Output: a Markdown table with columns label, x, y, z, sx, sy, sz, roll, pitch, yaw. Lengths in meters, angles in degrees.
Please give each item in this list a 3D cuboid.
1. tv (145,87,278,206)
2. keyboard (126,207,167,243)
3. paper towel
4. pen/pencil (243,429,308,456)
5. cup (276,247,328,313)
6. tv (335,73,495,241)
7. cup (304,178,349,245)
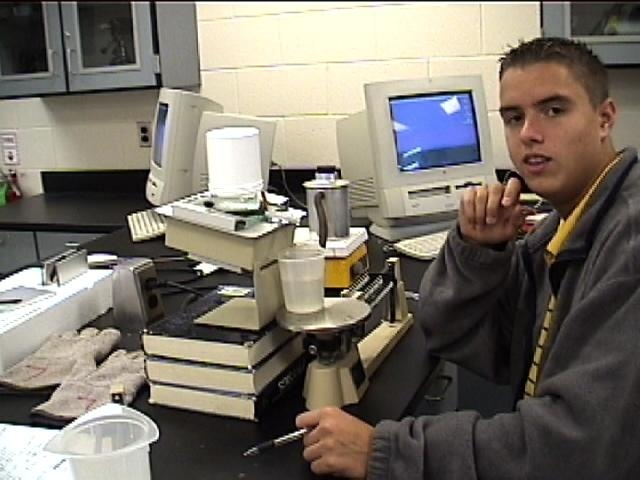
| label | x | y | z | sx | sy | sz | roll | pitch | yaw |
| --- | --- | --- | --- | --- | --- | --- | --- | --- | --- |
| tv | -0.567 | -0.444 | 2.775 | 0.605 | 0.599 | 0.347 | 0 | 14 | -28 |
| keyboard | -0.815 | -0.089 | 2.533 | 0.029 | 0.179 | 0.112 | -33 | 40 | 21 |
| paper towel | -0.165 | -0.193 | 1.312 | 0.164 | 0.182 | 0.164 | -2 | 15 | 3 |
| pen/pencil | -0.087 | 0.405 | 1.051 | 0.081 | 0.017 | 0.016 | -23 | 1 | -33 |
| cup | -0.040 | 0.097 | 1.204 | 0.107 | 0.133 | 0.123 | -4 | 8 | -3 |
| tv | 0.410 | -0.387 | 2.491 | 0.586 | 0.710 | 0.656 | -11 | 16 | -23 |
| cup | 0.020 | -0.082 | 1.641 | 0.119 | 0.193 | 0.186 | -2 | 11 | 18 |
